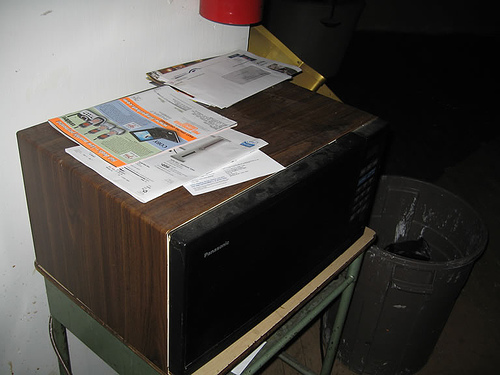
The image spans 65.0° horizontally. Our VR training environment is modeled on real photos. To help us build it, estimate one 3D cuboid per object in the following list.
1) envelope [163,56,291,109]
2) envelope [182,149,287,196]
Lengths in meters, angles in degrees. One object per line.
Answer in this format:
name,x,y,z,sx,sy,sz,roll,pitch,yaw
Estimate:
envelope,-0.071,-0.314,1.181,0.274,0.022,0.328,27,39,29
envelope,-0.043,-0.035,0.857,0.220,0.014,0.093,-17,41,-26
